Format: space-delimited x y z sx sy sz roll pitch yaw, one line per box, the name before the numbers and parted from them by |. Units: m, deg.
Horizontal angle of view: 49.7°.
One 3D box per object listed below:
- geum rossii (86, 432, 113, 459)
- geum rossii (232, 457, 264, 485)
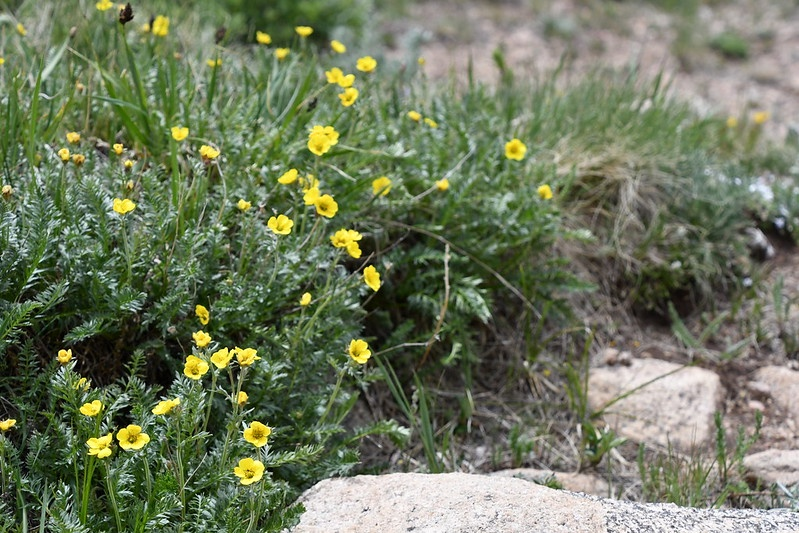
geum rossii | -1.331 0.822 3.833 0.104 0.128 0.141 -2 24 -22
geum rossii | -0.665 0.918 3.852 0.111 0.050 0.129 -18 72 -10
